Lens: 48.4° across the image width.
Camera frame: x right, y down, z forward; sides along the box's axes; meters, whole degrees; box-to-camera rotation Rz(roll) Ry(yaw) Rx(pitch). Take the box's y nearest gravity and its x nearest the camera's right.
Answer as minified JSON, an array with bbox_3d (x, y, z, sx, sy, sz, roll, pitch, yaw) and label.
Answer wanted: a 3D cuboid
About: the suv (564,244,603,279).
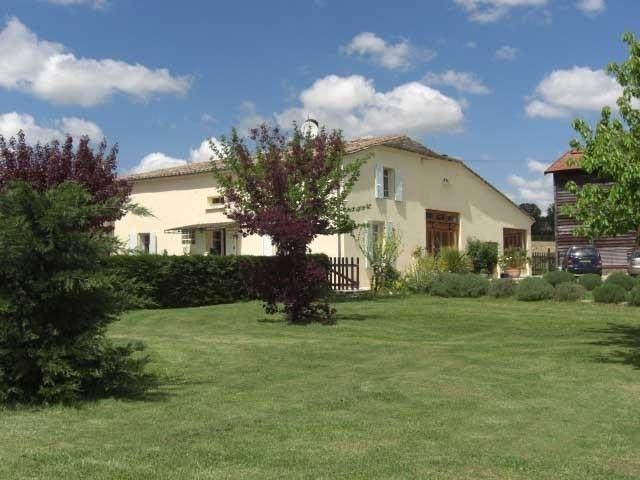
[{"bbox_3d":[10.753,0.902,29.392,1.002,1.011,2.302,0,2,15],"label":"suv"}]
